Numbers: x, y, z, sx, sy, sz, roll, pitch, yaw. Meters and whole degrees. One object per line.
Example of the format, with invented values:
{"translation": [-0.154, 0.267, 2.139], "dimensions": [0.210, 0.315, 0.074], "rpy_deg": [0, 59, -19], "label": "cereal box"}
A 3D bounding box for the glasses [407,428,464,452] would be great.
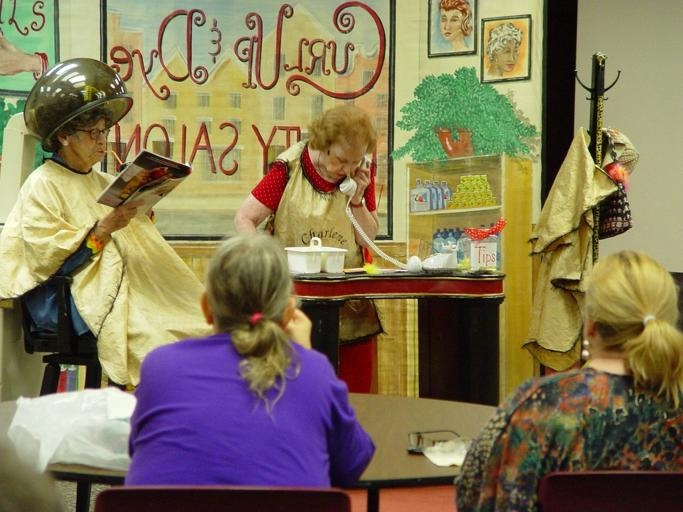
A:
{"translation": [0.350, 0.688, 3.457], "dimensions": [0.201, 0.126, 0.080], "rpy_deg": [2, -4, -12], "label": "glasses"}

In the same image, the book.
{"translation": [-0.885, -0.370, 4.333], "dimensions": [0.337, 0.020, 0.314], "rpy_deg": [-15, 19, 39], "label": "book"}

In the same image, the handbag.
{"translation": [1.668, -0.453, 5.488], "dimensions": [0.245, 0.648, 0.286], "rpy_deg": [-2, 2, -39], "label": "handbag"}

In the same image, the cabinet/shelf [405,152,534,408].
{"translation": [0.816, -0.351, 6.035], "dimensions": [0.865, 0.641, 2.539], "rpy_deg": [-5, 43, 8], "label": "cabinet/shelf"}

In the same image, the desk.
{"translation": [0.453, 0.354, 4.903], "dimensions": [0.854, 0.767, 0.757], "rpy_deg": [-1, -2, 11], "label": "desk"}

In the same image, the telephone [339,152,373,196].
{"translation": [0.068, -0.443, 4.915], "dimensions": [0.069, 0.240, 0.172], "rpy_deg": [18, 19, 24], "label": "telephone"}

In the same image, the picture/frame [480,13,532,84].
{"translation": [1.083, -1.378, 6.094], "dimensions": [0.318, 0.485, 0.020], "rpy_deg": [-1, 44, 10], "label": "picture/frame"}
